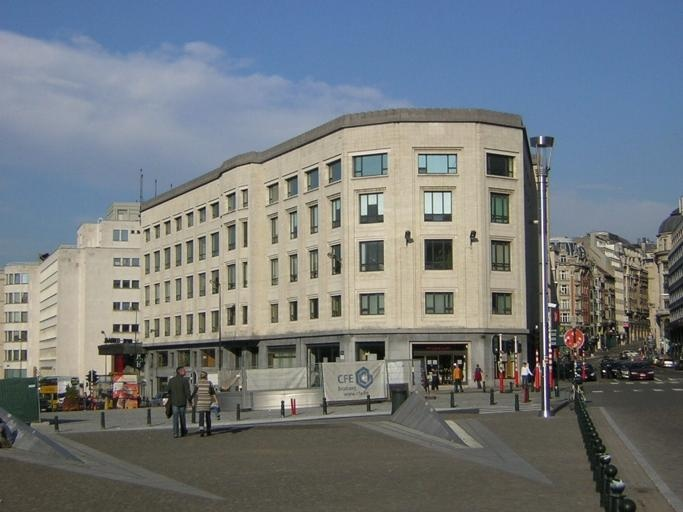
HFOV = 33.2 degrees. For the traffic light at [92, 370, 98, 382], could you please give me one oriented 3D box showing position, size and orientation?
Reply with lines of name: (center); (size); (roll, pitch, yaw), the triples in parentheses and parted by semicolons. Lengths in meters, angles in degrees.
traffic light: (-17.263, 8.503, 79.916); (0.333, 0.895, 1.449); (-1, -12, -6)
